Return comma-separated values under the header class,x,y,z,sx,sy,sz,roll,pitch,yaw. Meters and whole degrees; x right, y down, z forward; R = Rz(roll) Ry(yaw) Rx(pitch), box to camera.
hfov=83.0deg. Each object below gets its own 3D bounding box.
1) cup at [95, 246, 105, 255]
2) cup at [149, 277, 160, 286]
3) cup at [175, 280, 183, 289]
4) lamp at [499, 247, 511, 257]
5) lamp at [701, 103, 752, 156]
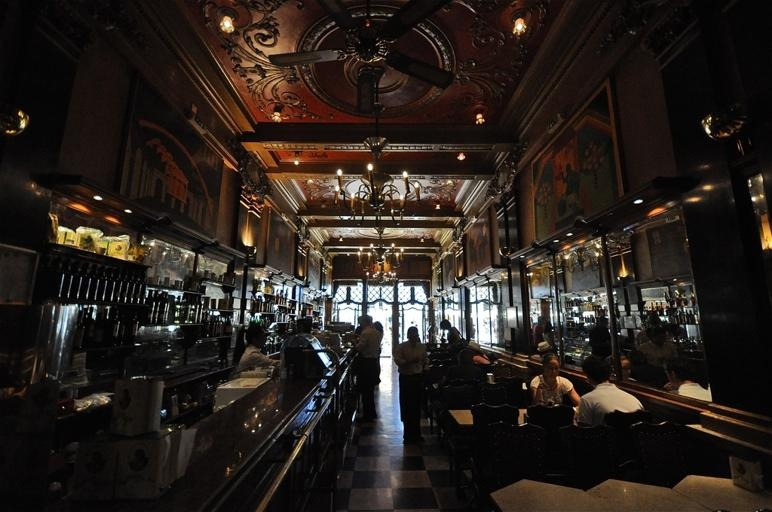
class,x,y,z,sx,sy,sz,roll,pitch,yaw
cup,-3.359,-0.067,5.139,0.077,0.073,0.136,3,8,-14
cup,-3.242,0.343,6.114,0.110,0.120,0.107,3,0,0
cup,-3.121,0.425,6.625,0.106,0.134,0.136,0,-4,1
lamp,2.534,-0.095,9.219,0.223,0.209,0.055,2,2,-18
lamp,2.452,-0.957,3.121,0.249,0.156,0.245,7,-14,-32
